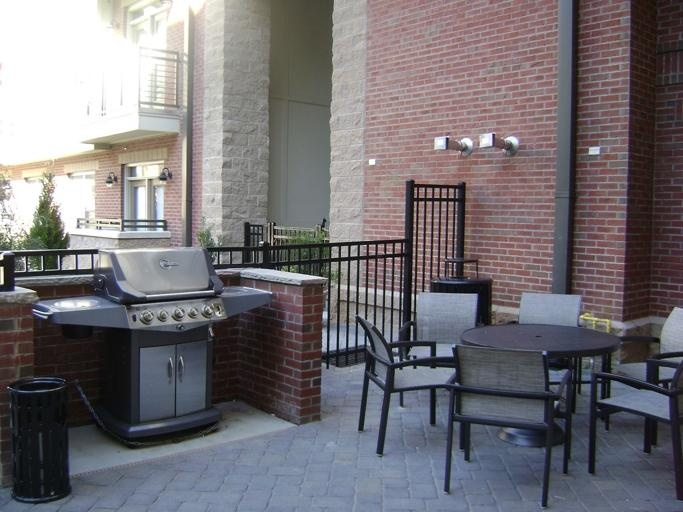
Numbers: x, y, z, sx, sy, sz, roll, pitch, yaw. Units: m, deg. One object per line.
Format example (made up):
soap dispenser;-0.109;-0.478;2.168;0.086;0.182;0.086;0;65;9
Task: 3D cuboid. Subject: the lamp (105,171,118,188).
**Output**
lamp;-6.970;-2.301;17.114;0.282;0.442;0.631;-6;10;-32

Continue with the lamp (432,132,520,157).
lamp;1.814;-1.589;8.095;0.640;0.327;1.188;-8;11;-44

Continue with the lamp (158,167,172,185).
lamp;-4.595;-2.078;14.627;0.286;0.392;0.638;-5;9;-30
